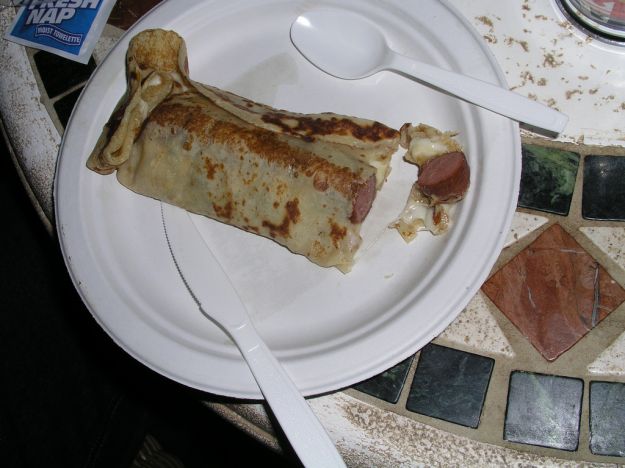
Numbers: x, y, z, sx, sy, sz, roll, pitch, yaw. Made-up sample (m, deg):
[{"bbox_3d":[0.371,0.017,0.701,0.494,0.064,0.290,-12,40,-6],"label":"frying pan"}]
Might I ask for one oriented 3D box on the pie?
[{"bbox_3d":[-0.054,-0.111,1.313,0.706,0.275,0.463,22,80,10],"label":"pie"}]
